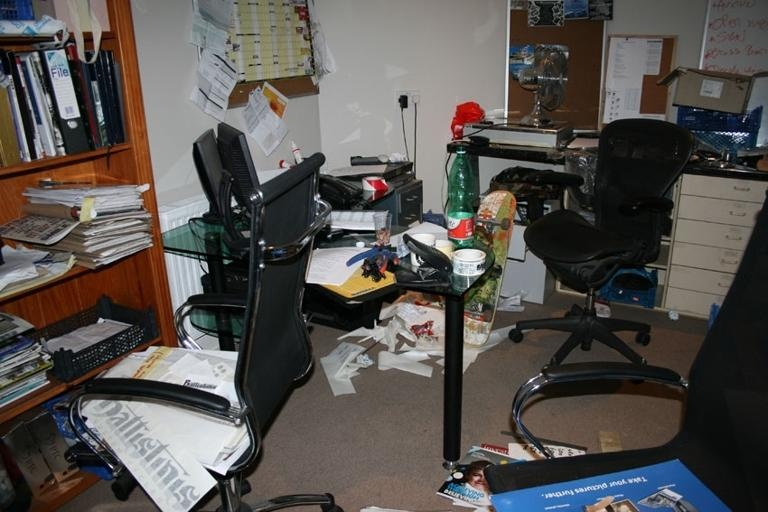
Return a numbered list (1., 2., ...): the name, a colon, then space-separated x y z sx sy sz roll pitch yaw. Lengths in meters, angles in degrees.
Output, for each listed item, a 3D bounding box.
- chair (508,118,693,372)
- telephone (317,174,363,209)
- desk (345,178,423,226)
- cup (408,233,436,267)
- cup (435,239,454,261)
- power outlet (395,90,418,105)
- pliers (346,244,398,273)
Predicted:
1. chair: 1.314 -0.163 3.421 0.876 1.459 0.986 -11 23 -23
2. telephone: -0.287 -0.405 3.389 0.294 0.110 0.162 20 32 34
3. desk: -0.026 -0.435 4.044 0.526 0.350 0.543 19 27 39
4. cup: 0.166 -0.033 2.504 0.123 0.134 0.143 -10 17 -30
5. cup: 0.265 -0.030 2.517 0.080 0.084 0.086 -2 12 0
6. power outlet: 0.210 -1.298 4.522 0.173 0.114 0.040 -1 11 -9
7. pliers: -0.062 -0.004 2.581 0.155 0.045 0.121 -16 23 -25
